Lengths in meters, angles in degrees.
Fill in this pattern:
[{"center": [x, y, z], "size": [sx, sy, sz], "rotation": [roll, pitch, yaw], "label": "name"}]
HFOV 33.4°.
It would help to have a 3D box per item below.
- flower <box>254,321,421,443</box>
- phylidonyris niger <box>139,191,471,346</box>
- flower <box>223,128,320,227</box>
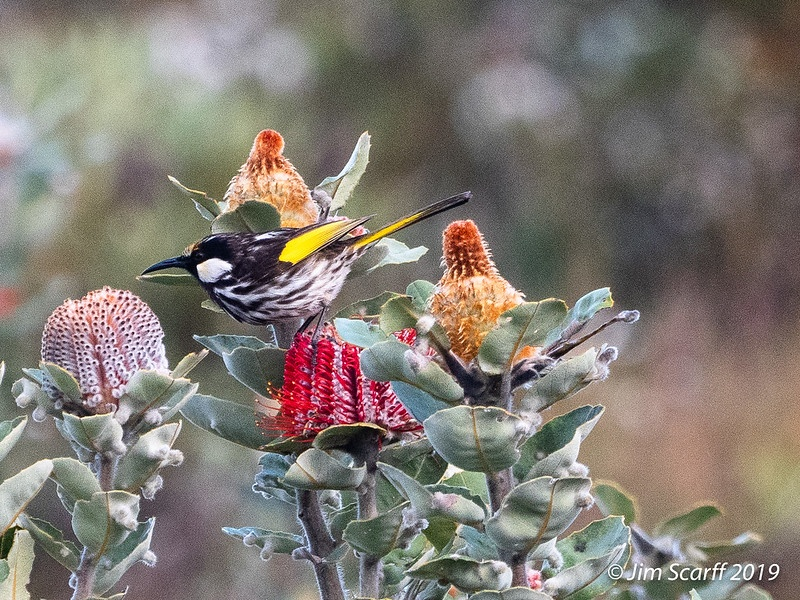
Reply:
[{"center": [-0.122, 0.185, 2.958], "size": [0.360, 0.270, 0.110], "rotation": [6, -13, 1], "label": "flower"}, {"center": [-0.273, -0.069, 3.247], "size": [0.676, 0.360, 0.244], "rotation": [-7, 32, -3], "label": "phylidonyris niger"}, {"center": [-0.306, -0.263, 3.092], "size": [0.185, 0.270, 0.107], "rotation": [-11, 32, 1], "label": "flower"}]
